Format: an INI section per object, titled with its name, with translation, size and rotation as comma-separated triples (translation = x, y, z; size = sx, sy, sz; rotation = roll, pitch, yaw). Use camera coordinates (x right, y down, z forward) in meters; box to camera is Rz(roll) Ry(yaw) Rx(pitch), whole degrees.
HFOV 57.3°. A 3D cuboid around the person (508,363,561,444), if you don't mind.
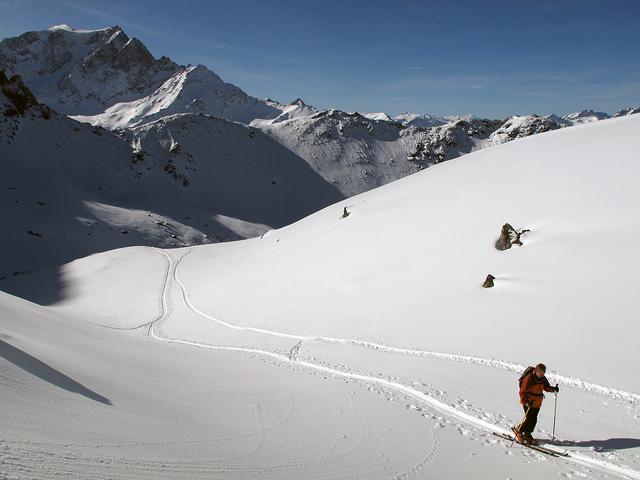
[person]
translation = 7.708, 5.840, 21.474
size = 1.448, 2.675, 0.985
rotation = -8, 12, -33
